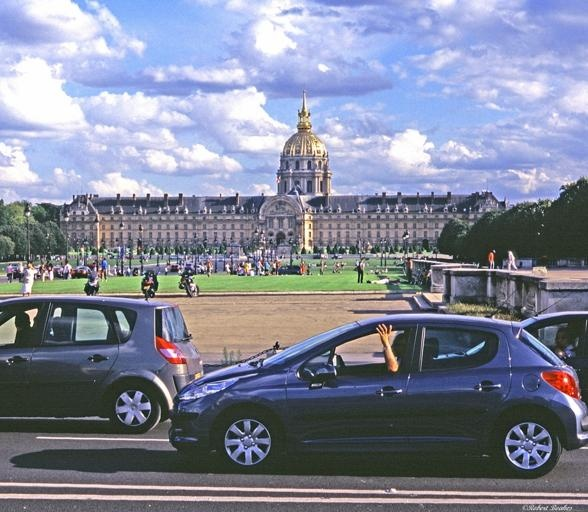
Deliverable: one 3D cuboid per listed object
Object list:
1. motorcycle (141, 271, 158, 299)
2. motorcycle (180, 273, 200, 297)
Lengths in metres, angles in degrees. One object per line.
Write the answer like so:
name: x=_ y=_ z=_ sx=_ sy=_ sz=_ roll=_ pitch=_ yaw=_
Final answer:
motorcycle: x=-5.550 y=1.048 z=37.990 sx=0.585 sy=0.784 sz=1.345 roll=0 pitch=0 yaw=3
motorcycle: x=-4.473 y=1.238 z=42.886 sx=0.762 sy=0.726 sz=1.314 roll=6 pitch=-9 yaw=9
